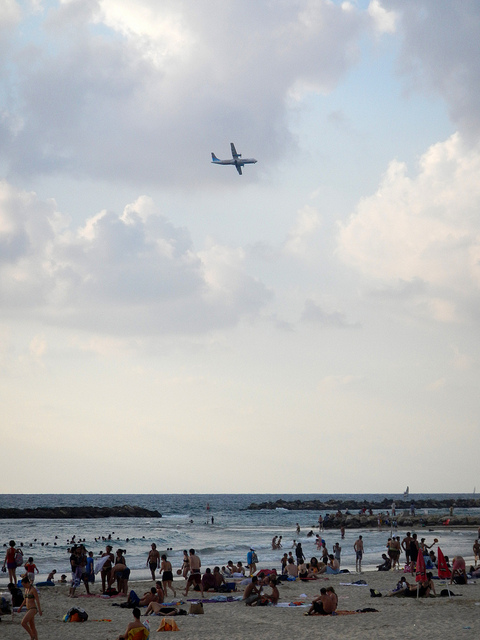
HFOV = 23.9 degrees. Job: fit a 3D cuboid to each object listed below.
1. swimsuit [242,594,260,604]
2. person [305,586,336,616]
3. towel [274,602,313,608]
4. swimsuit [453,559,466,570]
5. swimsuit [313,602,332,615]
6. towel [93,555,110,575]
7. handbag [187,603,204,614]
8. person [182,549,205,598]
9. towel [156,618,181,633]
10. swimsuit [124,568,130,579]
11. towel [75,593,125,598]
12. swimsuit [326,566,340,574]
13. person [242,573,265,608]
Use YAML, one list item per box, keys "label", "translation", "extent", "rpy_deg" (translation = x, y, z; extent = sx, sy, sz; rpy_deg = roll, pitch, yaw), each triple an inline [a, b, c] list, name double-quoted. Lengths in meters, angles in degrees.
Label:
- label: "swimsuit"
  translation: [0.425, 10.838, 44.044]
  extent: [0.719, 0.333, 0.407]
  rpy_deg: [-6, -8, 15]
- label: "person"
  translation: [2.937, 10.361, 41.695]
  extent: [0.999, 0.887, 1.011]
  rpy_deg: [-3, -8, 0]
- label: "towel"
  translation: [1.957, 10.948, 43.460]
  extent: [1.321, 0.134, 0.813]
  rpy_deg: [-4, -8, 3]
- label: "swimsuit"
  translation: [9.477, 10.558, 48.934]
  extent: [0.577, 0.486, 0.809]
  rpy_deg: [-2, 10, 13]
- label: "swimsuit"
  translation: [2.925, 10.528, 41.458]
  extent: [0.411, 0.168, 0.331]
  rpy_deg: [31, -10, 28]
- label: "towel"
  translation: [-5.735, 10.007, 46.512]
  extent: [0.668, 0.635, 1.419]
  rpy_deg: [-2, -8, -7]
- label: "handbag"
  translation: [-1.639, 10.632, 41.690]
  extent: [0.374, 0.335, 0.394]
  rpy_deg: [2, -7, -22]
- label: "person"
  translation: [-1.981, 10.318, 46.298]
  extent: [0.875, 1.992, 0.804]
  rpy_deg: [-4, -8, 29]
- label: "towel"
  translation: [-2.497, 10.496, 38.969]
  extent: [0.752, 0.421, 0.500]
  rpy_deg: [-3, -8, -6]
- label: "swimsuit"
  translation: [-4.653, 10.271, 45.902]
  extent: [0.185, 0.439, 0.335]
  rpy_deg: [-1, -8, -15]
- label: "towel"
  translation: [-5.766, 11.155, 45.802]
  extent: [2.006, 0.125, 0.763]
  rpy_deg: [-6, -9, 12]
- label: "swimsuit"
  translation: [4.514, 12.108, 54.895]
  extent: [0.742, 0.404, 0.273]
  rpy_deg: [3, -10, -39]
- label: "person"
  translation: [0.509, 10.640, 44.610]
  extent: [0.796, 1.034, 2.288]
  rpy_deg: [-3, -8, -1]
